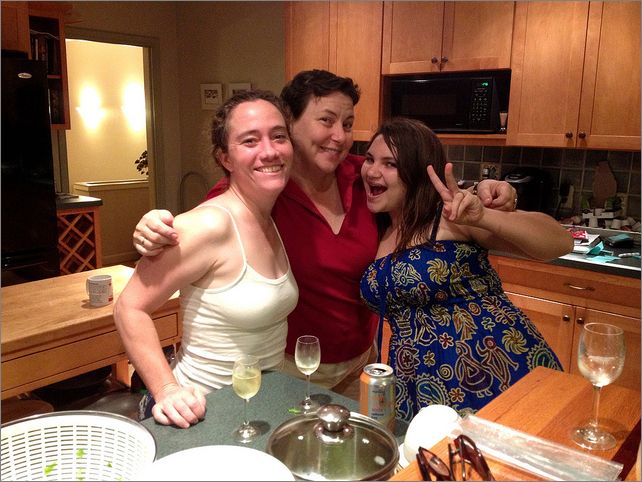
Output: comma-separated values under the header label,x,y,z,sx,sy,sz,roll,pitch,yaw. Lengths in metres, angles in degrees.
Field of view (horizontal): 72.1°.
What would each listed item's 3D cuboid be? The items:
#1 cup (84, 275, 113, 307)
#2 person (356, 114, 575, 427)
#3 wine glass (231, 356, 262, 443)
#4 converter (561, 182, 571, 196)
label,x,y,z,sx,sy,sz,roll,pitch,yaw
cup,-1.088,0.248,2.143,0.153,0.129,0.100,4,7,37
person,0.510,0.068,1.799,0.643,1.072,0.726,-7,18,-19
wine glass,-0.195,0.412,1.161,0.071,0.179,0.169,-3,18,-7
converter,1.904,-0.398,3.422,0.072,0.134,0.070,11,16,35
